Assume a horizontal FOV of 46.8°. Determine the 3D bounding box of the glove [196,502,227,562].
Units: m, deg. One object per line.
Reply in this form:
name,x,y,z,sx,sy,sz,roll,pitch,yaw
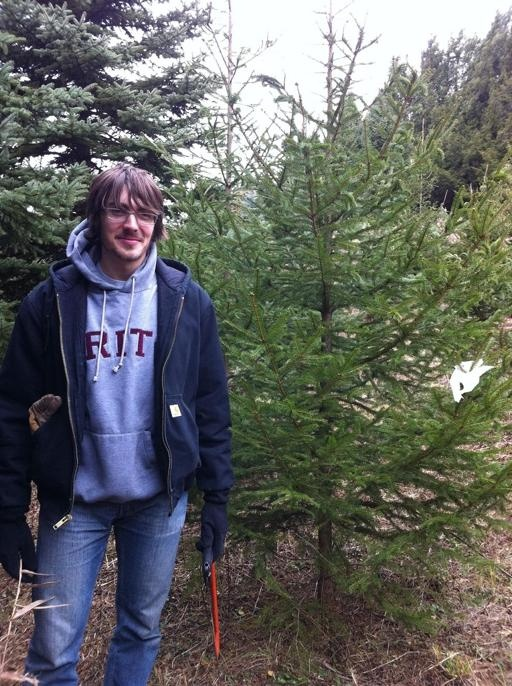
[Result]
glove,-0.185,0.838,2.642,0.076,0.239,0.151,1,-11,8
